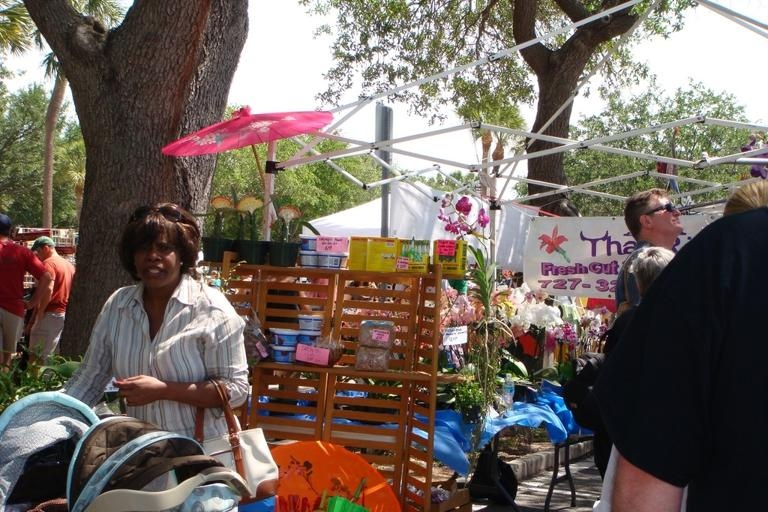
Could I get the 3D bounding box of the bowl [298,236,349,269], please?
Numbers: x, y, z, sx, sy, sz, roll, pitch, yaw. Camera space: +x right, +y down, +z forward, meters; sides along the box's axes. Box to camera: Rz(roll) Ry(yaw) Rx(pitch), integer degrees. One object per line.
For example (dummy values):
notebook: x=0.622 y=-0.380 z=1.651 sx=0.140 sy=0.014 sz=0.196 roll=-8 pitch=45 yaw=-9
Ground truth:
bowl: x=-0.443 y=-0.005 z=4.701 sx=0.244 sy=0.167 sz=0.310 roll=1 pitch=-7 yaw=-5

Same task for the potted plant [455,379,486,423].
potted plant: x=0.684 y=1.172 z=4.967 sx=0.270 sy=0.343 sz=0.127 roll=3 pitch=-5 yaw=21

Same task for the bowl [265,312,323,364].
bowl: x=-0.662 y=0.610 z=4.541 sx=0.408 sy=0.292 sz=0.288 roll=4 pitch=-7 yaw=-12

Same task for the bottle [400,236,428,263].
bottle: x=0.216 y=-0.038 z=4.506 sx=0.268 sy=0.259 sz=0.131 roll=1 pitch=6 yaw=7

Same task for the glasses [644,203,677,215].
glasses: x=1.963 y=-0.332 z=4.399 sx=0.151 sy=0.045 sz=0.115 roll=-2 pitch=0 yaw=6

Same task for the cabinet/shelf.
cabinet/shelf: x=-0.366 y=0.822 z=4.217 sx=2.052 sy=1.996 sz=0.664 roll=0 pitch=-3 yaw=-1

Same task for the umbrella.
umbrella: x=-1.109 y=-1.006 z=4.959 sx=1.312 sy=0.374 sz=0.586 roll=3 pitch=-5 yaw=18

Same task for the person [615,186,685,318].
person: x=1.950 y=-0.083 z=4.512 sx=0.462 sy=0.797 sz=0.886 roll=-10 pitch=2 yaw=36

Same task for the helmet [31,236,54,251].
helmet: x=-4.391 y=-0.170 z=7.985 sx=0.324 sy=0.176 sz=0.228 roll=1 pitch=3 yaw=23

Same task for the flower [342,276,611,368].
flower: x=1.144 y=0.532 z=5.654 sx=1.339 sy=0.502 sz=1.347 roll=-4 pitch=-11 yaw=24
